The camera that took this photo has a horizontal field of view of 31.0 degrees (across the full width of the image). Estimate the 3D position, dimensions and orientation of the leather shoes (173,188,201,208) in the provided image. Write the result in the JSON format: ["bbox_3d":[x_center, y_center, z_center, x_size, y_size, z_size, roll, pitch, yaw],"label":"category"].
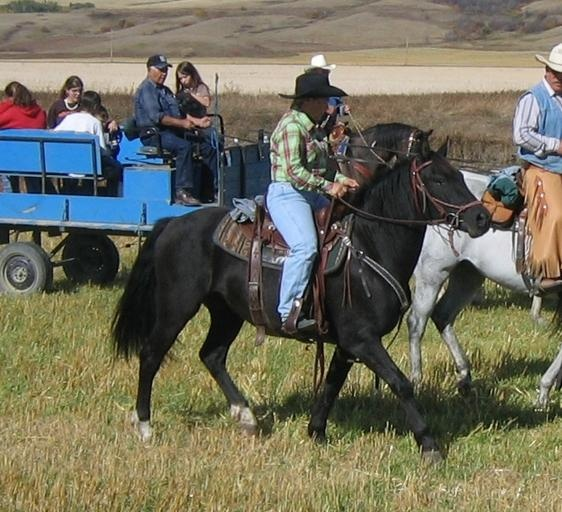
[{"bbox_3d":[-1.172,-0.692,12.612,0.342,0.205,0.156,5,7,37],"label":"leather shoes"}]

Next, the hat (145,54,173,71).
[{"bbox_3d":[-1.618,-2.502,13.265,0.335,0.229,0.271,-2,8,22],"label":"hat"}]

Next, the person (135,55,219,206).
[{"bbox_3d":[-1.371,-1.617,13.249,0.936,2.055,0.784,-4,2,37],"label":"person"}]

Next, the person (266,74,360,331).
[{"bbox_3d":[0.217,-0.462,8.687,0.663,2.183,0.545,-5,5,-8],"label":"person"}]

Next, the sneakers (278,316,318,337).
[{"bbox_3d":[0.154,0.599,8.565,0.241,0.118,0.151,-3,0,-7],"label":"sneakers"}]

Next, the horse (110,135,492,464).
[{"bbox_3d":[0.139,0.447,8.817,3.180,2.447,0.844,-4,5,11],"label":"horse"}]
